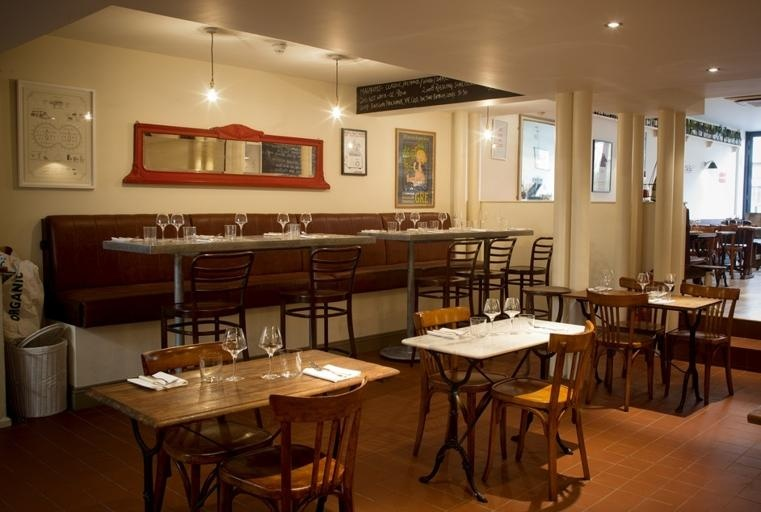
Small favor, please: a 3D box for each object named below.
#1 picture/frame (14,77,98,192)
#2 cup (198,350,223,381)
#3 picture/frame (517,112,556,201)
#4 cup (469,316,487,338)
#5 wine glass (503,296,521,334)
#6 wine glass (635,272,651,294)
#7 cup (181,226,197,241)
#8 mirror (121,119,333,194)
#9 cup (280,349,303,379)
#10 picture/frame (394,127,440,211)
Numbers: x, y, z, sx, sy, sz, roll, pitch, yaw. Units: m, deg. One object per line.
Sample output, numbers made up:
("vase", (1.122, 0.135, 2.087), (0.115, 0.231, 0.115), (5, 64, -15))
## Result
("picture/frame", (-3.539, -1.308, 6.017), (0.764, 1.126, 0.212), (-5, 10, -27))
("cup", (-1.157, 0.719, 3.622), (0.175, 0.196, 0.178), (0, -2, 0))
("picture/frame", (3.193, -1.947, 11.076), (0.372, 1.629, 1.278), (7, 12, 37))
("cup", (0.812, 0.577, 4.514), (0.151, 0.154, 0.138), (4, 1, 0))
("wine glass", (1.137, 0.465, 4.767), (0.123, 0.265, 0.527), (2, 9, 12))
("wine glass", (3.005, 0.308, 6.253), (0.114, 0.239, 0.308), (5, 10, 27))
("cup", (-2.136, -0.243, 6.114), (0.195, 0.200, 0.191), (2, 7, 0))
("mirror", (-1.897, -1.287, 7.247), (2.638, 0.816, 0.058), (-2, 18, -34))
("cup", (-0.588, 0.717, 3.636), (0.153, 0.170, 0.160), (0, -1, 0))
("picture/frame", (0.583, -1.440, 9.187), (0.859, 1.278, 0.182), (-8, 12, -40))
